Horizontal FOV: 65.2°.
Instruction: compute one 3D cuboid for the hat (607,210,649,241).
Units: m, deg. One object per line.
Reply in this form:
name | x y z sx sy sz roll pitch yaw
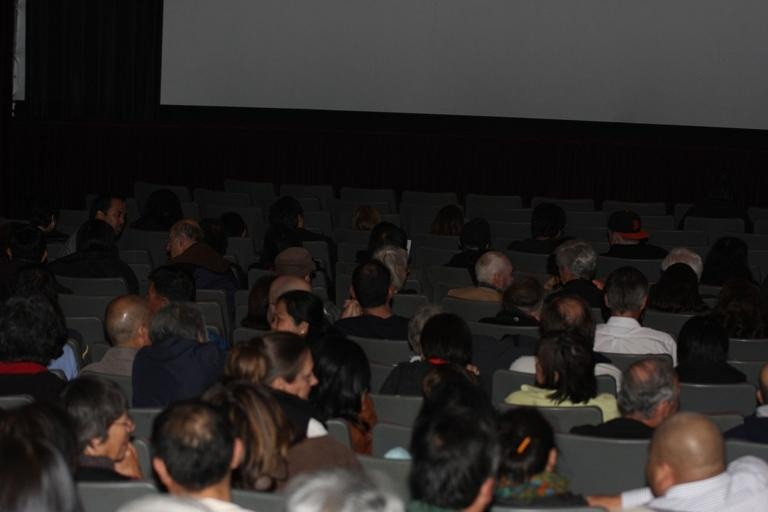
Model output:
hat | 2.602 -0.350 6.460 0.377 0.230 0.287 16 19 36
